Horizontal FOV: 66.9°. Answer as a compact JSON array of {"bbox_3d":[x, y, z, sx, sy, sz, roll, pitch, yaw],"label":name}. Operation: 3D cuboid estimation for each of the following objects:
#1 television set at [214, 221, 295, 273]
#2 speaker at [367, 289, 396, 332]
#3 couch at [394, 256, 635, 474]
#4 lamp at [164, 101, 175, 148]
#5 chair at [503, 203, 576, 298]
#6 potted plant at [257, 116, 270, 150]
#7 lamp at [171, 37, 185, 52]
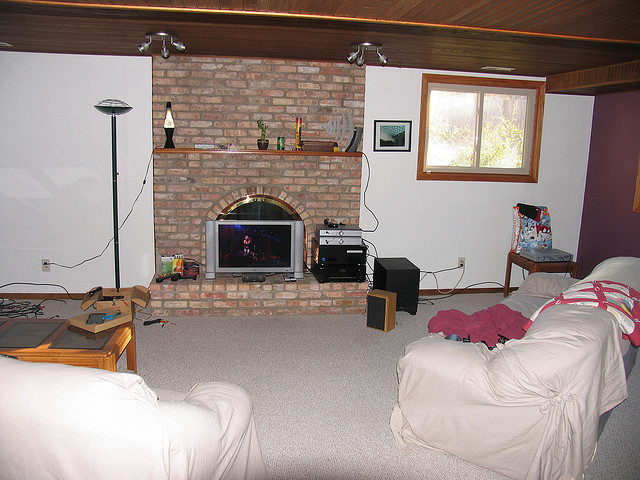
[{"bbox_3d":[-0.679,0.079,5.145,0.875,0.561,0.035,1,7,-3],"label":"television set"},{"bbox_3d":[0.617,0.731,4.845,0.235,0.341,0.194,6,3,37],"label":"speaker"},{"bbox_3d":[1.144,0.520,2.944,1.109,0.650,1.806,9,21,39],"label":"couch"},{"bbox_3d":[-1.564,-1.195,5.058,0.103,0.485,0.171,1,5,-18],"label":"lamp"},{"bbox_3d":[2.506,0.160,5.447,0.578,1.024,0.599,-2,13,-8],"label":"chair"},{"bbox_3d":[-0.598,-1.123,5.164,0.125,0.353,0.196,2,5,-6],"label":"potted plant"},{"bbox_3d":[-1.234,-1.668,4.164,0.123,0.109,0.089,17,33,12],"label":"lamp"}]
